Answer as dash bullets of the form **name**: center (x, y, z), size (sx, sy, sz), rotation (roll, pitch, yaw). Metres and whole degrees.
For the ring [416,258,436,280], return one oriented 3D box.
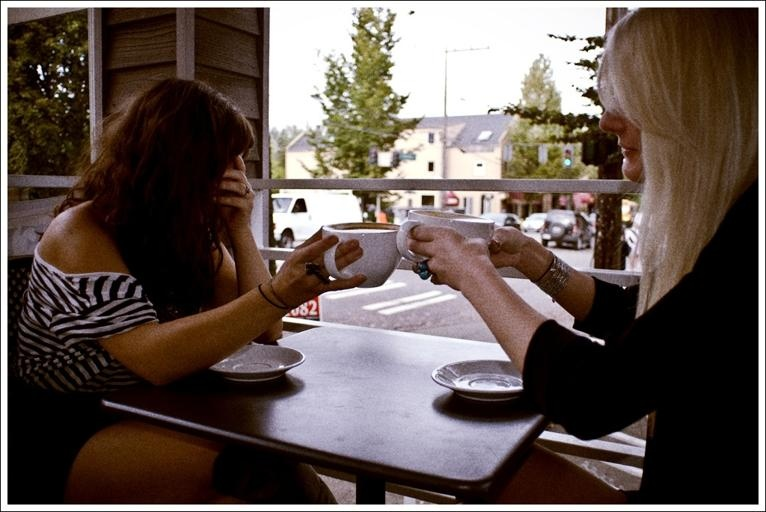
- **ring**: center (0.100, 0.032, 1.468), size (0.039, 0.041, 0.048), rotation (2, -7, -6)

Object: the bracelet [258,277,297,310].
- **bracelet**: center (-0.262, 0.096, 1.555), size (0.076, 0.019, 0.076), rotation (31, 1, -12)

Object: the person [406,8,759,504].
- **person**: center (0.482, 0.001, 1.501), size (0.664, 1.162, 0.574), rotation (3, 8, 5)

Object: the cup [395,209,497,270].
- **cup**: center (0.123, -0.048, 1.527), size (0.210, 0.131, 0.318), rotation (13, 18, 30)

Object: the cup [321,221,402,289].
- **cup**: center (-0.075, 0.006, 1.508), size (0.200, 0.141, 0.238), rotation (2, 7, 17)

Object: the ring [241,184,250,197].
- **ring**: center (-0.424, -0.204, 1.910), size (0.031, 0.024, 0.022), rotation (37, 42, -13)

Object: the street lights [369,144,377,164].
- **street lights**: center (-0.181, -1.797, 10.945), size (0.212, 0.313, 0.209), rotation (1, 6, -5)

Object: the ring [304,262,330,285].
- **ring**: center (-0.159, 0.042, 1.500), size (0.059, 0.033, 0.015), rotation (36, 33, -13)
